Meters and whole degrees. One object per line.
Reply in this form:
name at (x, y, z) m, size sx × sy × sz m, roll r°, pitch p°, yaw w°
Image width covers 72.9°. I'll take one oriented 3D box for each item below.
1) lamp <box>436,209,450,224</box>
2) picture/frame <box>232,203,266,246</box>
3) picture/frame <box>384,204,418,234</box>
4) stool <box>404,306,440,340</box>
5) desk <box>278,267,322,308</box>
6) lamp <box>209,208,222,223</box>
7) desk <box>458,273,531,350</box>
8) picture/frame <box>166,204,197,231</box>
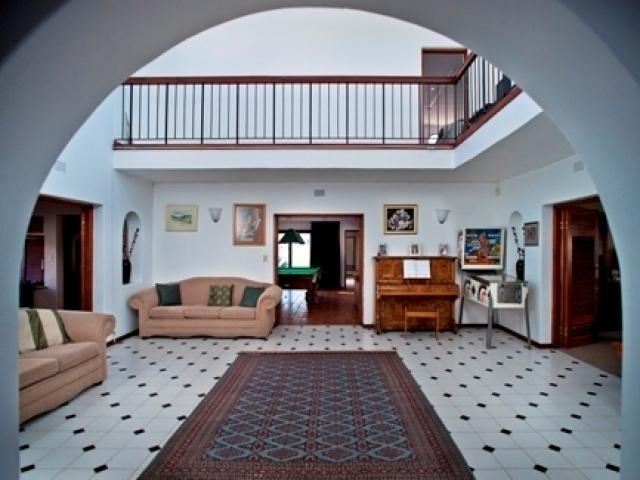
lamp at (2.202, -0.435, 7.859) m, size 0.236 × 0.262 × 0.231 m, roll 1°, pitch -2°, yaw -5°
picture/frame at (-1.332, -0.303, 7.954) m, size 0.683 × 0.880 × 0.063 m, roll 1°, pitch -1°, yaw -1°
picture/frame at (1.439, -0.387, 7.880) m, size 0.471 × 0.447 × 0.048 m, roll -2°, pitch 2°, yaw 1°
stool at (1.711, 1.361, 7.274) m, size 0.588 × 0.449 × 0.647 m, roll 1°, pitch 7°, yaw 11°
desk at (-0.605, 1.068, 11.400) m, size 0.932 × 1.115 × 3.121 m, roll -1°, pitch 7°, yaw -4°
lamp at (-1.913, -0.464, 7.883) m, size 0.233 × 0.206 × 0.225 m, roll 0°, pitch 7°, yaw -13°
desk at (2.876, 1.057, 7.249) m, size 0.719 × 0.904 × 1.386 m, roll -1°, pitch 1°, yaw -1°
picture/frame at (-2.565, -0.450, 7.966) m, size 0.432 × 0.408 × 0.049 m, roll 1°, pitch 4°, yaw 1°
